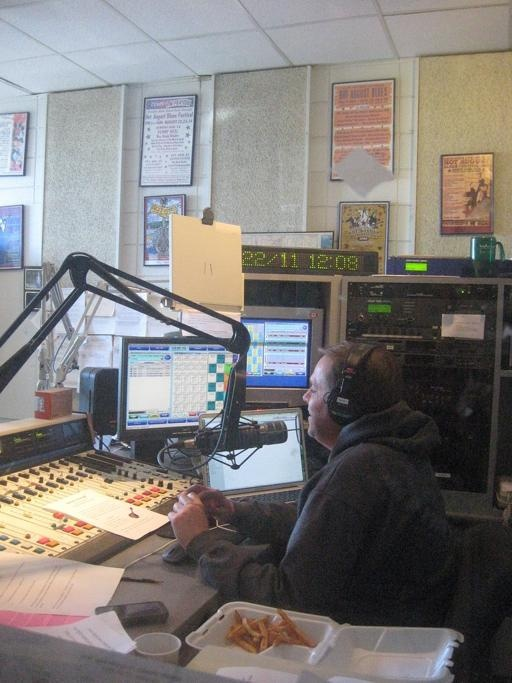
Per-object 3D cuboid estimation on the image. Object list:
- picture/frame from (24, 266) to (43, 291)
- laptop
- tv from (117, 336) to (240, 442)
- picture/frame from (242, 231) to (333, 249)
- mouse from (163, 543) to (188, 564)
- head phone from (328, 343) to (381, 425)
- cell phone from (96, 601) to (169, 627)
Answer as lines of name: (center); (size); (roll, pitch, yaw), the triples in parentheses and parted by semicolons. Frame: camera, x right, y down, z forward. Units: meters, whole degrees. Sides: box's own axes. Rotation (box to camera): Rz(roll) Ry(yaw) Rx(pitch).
picture/frame: (-1.722, -0.481, 4.782); (0.245, 0.152, 0.060); (13, 3, 36)
laptop: (0.062, 0.278, 1.541); (0.378, 0.228, 0.210); (3, -9, -43)
tv: (-0.224, 0.133, 1.861); (0.058, 0.299, 0.471); (-2, -4, 41)
picture/frame: (0.209, -0.696, 4.146); (0.639, 0.121, 0.059); (11, 3, 17)
mouse: (-0.145, 0.377, 1.102); (0.029, 0.015, 0.028); (5, 7, 12)
head phone: (0.193, 0.086, 1.188); (0.070, 0.155, 0.141); (18, -5, 17)
cell phone: (-0.164, 0.362, 0.832); (0.097, 0.023, 0.047); (-1, 5, -19)
